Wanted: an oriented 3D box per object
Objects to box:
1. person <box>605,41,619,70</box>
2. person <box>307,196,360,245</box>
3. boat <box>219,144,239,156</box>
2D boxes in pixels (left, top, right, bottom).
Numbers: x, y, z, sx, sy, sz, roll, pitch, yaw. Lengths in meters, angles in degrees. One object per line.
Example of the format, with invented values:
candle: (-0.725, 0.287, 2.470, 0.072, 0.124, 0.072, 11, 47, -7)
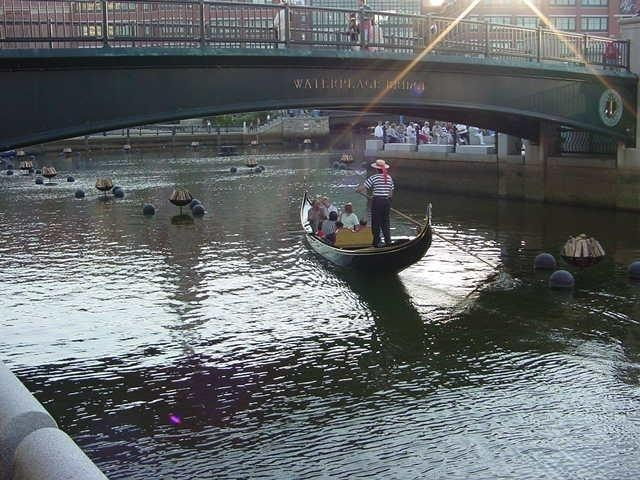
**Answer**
person: (10.791, -6.866, 26.805, 0.329, 0.887, 1.112, 10, 17, 39)
person: (0.386, -0.619, 21.968, 0.880, 0.682, 2.360, -4, 14, -13)
boat: (-9.863, -9.932, 77.982, 2.305, 1.172, 4.115, -1, 2, -9)
